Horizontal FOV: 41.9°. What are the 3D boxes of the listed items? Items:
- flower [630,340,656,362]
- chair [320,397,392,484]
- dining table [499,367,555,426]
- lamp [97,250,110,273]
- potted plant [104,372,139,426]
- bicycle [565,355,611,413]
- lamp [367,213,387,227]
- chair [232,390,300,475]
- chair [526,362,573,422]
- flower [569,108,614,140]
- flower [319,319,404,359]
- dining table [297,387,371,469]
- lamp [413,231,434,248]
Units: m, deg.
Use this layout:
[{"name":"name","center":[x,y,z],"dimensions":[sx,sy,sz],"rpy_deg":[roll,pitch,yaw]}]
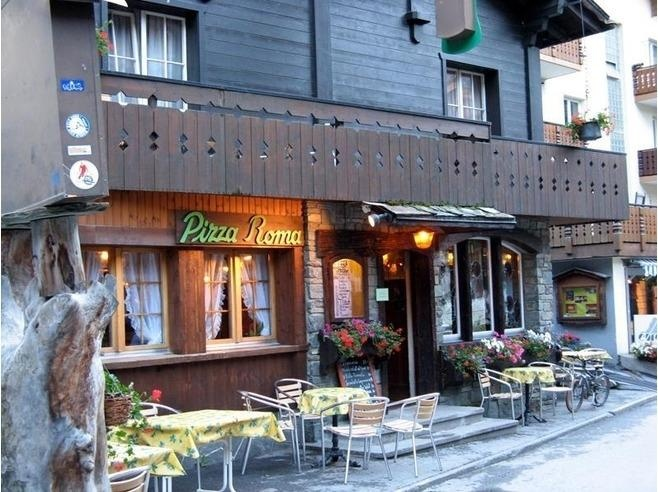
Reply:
[{"name":"flower","center":[7.850,2.622,21.384],"dimensions":[0.453,0.308,0.485],"rpy_deg":[-3,2,-3]},{"name":"chair","center":[0.588,2.719,12.631],"dimensions":[1.079,1.537,1.013],"rpy_deg":[3,-4,-35]},{"name":"dining table","center":[3.652,2.793,16.006],"dimensions":[0.829,0.931,0.889],"rpy_deg":[-7,-10,27]},{"name":"lamp","center":[-3.368,0.242,12.859],"dimensions":[0.086,0.346,0.192],"rpy_deg":[-6,-3,39]},{"name":"potted plant","center":[-2.376,1.763,9.849],"dimensions":[0.371,0.594,0.702],"rpy_deg":[-3,-3,-13]},{"name":"bicycle","center":[5.040,2.748,17.463],"dimensions":[0.764,1.150,1.707],"rpy_deg":[-8,-11,38]},{"name":"lamp","center":[0.778,-0.407,13.927],"dimensions":[0.287,0.162,0.168],"rpy_deg":[-15,4,-39]},{"name":"chair","center":[-0.926,2.726,13.068],"dimensions":[0.995,1.498,1.153],"rpy_deg":[-1,-5,-1]},{"name":"chair","center":[4.555,2.887,16.972],"dimensions":[0.957,1.396,1.026],"rpy_deg":[-5,-7,44]},{"name":"flower","center":[5.264,-2.455,17.473],"dimensions":[0.706,0.518,0.670],"rpy_deg":[2,-6,-22]},{"name":"flower","center":[0.516,1.586,14.437],"dimensions":[1.448,0.704,0.547],"rpy_deg":[-2,-3,-43]},{"name":"dining table","center":[0.056,2.659,12.810],"dimensions":[0.974,1.022,1.090],"rpy_deg":[1,-5,2]},{"name":"lamp","center":[1.634,-0.095,14.874],"dimensions":[0.300,0.282,0.296],"rpy_deg":[-1,-8,6]}]
